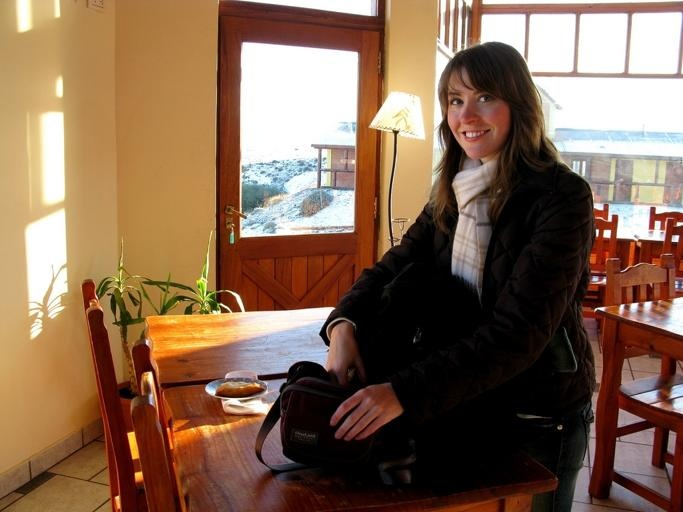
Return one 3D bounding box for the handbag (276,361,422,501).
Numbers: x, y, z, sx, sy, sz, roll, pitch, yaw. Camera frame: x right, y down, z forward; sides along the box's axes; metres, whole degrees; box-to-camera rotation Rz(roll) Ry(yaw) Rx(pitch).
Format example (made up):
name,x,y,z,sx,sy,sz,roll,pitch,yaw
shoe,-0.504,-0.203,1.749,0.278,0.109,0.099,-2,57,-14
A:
name,x,y,z,sx,sy,sz,roll,pitch,yaw
handbag,0.014,0.335,1.269,0.286,0.329,0.195,15,6,-4
